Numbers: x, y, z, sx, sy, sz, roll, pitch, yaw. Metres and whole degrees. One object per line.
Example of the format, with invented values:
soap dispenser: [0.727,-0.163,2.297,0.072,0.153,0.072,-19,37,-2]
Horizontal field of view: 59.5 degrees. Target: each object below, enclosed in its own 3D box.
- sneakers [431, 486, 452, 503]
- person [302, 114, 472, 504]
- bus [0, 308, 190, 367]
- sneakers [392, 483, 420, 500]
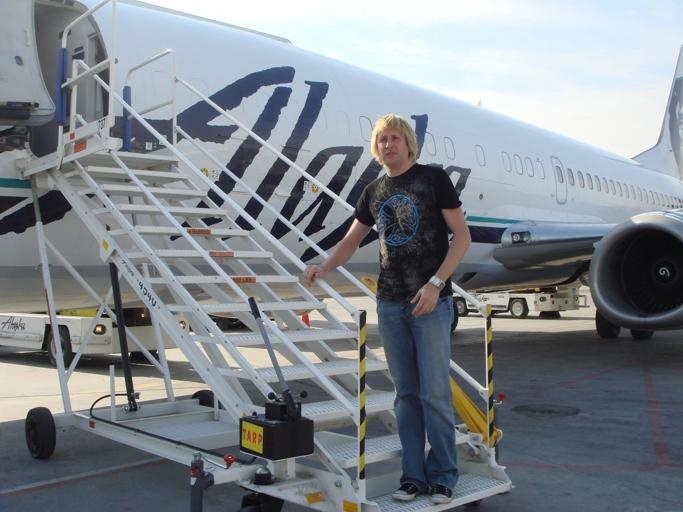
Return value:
sneakers: [0.648,1.540,3.839,0.128,0.115,0.095,0,0,9]
person: [0.485,0.325,4.062,0.492,2.557,0.848,0,0,-27]
bus: [-5.232,1.536,11.761,3.983,0.777,2.292,-6,-8,39]
sneakers: [0.421,1.549,3.901,0.077,0.068,0.202,-4,-18,30]
